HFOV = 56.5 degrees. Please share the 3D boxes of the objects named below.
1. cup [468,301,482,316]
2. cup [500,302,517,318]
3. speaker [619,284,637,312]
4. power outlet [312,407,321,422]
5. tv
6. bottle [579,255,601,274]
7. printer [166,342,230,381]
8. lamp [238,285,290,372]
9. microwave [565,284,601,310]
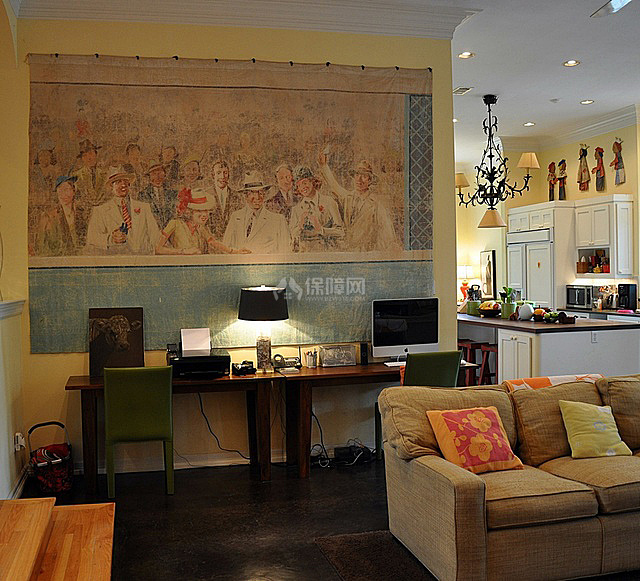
[{"bbox_3d":[1.931,0.226,7.352,0.128,0.168,0.267,0,3,0],"label":"cup"},{"bbox_3d":[2.152,0.231,6.721,0.157,0.180,0.197,1,3,18],"label":"cup"},{"bbox_3d":[4.196,0.088,8.065,0.246,0.343,0.237,1,3,29],"label":"speaker"},{"bbox_3d":[-0.035,1.037,4.994,0.056,0.118,0.037,1,1,-4],"label":"power outlet"},{"bbox_3d":[0.702,0.320,4.831,0.423,0.448,0.200,-2,2,-18],"label":"tv"},{"bbox_3d":[3.974,-0.369,8.755,0.243,0.277,0.155,-2,-2,35],"label":"bottle"},{"bbox_3d":[-0.925,0.537,4.552,0.453,0.212,0.420,-1,3,-17],"label":"printer"},{"bbox_3d":[-0.441,0.298,4.707,0.396,0.657,0.362,-1,3,-4],"label":"lamp"},{"bbox_3d":[3.874,0.118,8.687,0.262,0.435,0.456,3,-2,-25],"label":"microwave"}]
